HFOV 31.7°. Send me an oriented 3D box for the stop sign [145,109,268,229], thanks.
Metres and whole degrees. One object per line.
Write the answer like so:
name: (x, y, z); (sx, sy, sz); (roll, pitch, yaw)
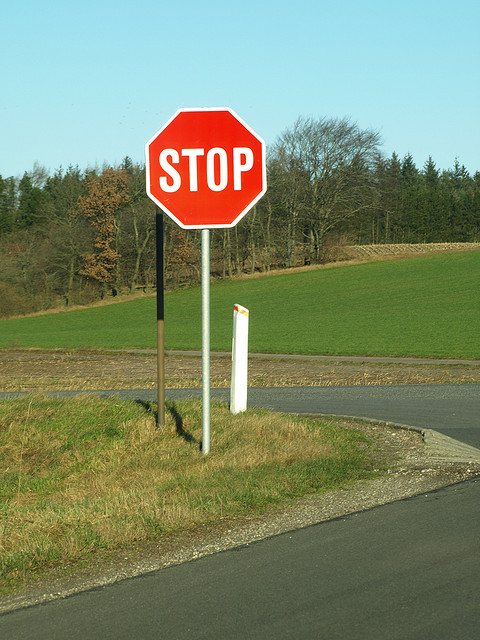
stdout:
stop sign: (-0.279, -1.384, 7.656); (1.127, 1.064, 0.152); (3, 11, 19)
